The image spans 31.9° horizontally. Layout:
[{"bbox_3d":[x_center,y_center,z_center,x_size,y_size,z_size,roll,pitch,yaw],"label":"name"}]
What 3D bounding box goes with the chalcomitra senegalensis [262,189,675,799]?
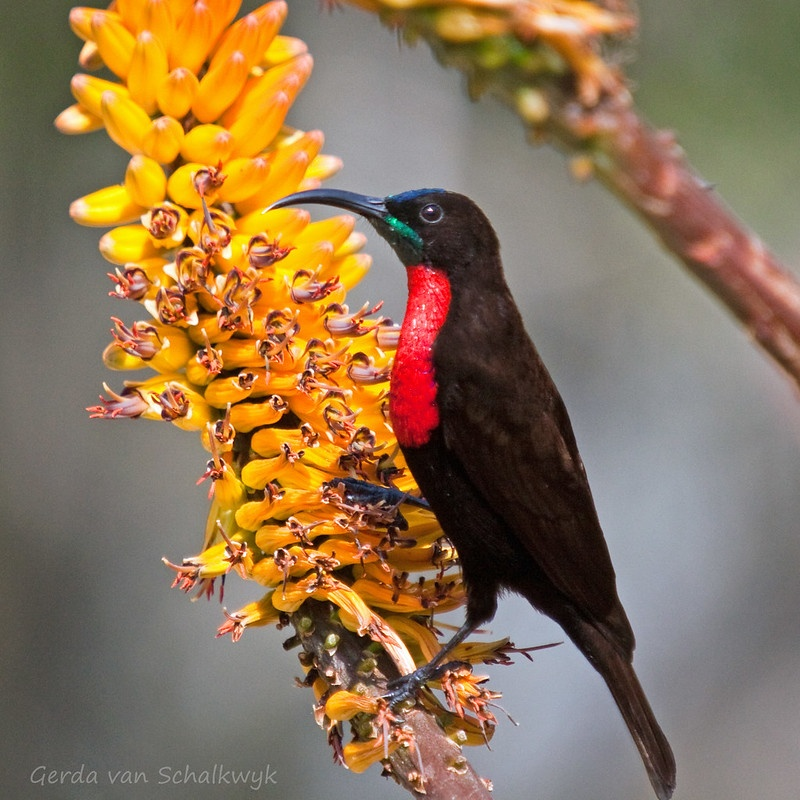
[{"bbox_3d":[0.155,0.174,2.784,0.907,1.112,0.231,15,-18,-20],"label":"chalcomitra senegalensis"}]
